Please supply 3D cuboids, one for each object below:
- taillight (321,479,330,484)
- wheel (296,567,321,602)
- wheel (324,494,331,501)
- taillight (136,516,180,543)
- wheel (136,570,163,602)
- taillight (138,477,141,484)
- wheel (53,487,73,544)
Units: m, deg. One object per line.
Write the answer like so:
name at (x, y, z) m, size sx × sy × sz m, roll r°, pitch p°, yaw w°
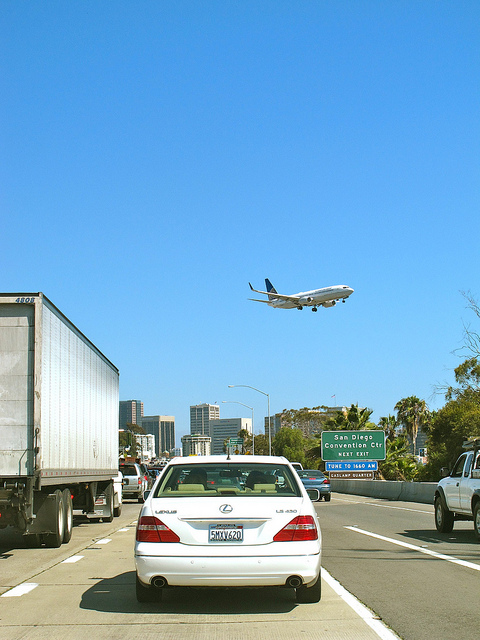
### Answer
taillight at (3.904, 7.470, 30.853) m, size 0.210 × 0.143 × 0.413 m, roll 1°, pitch 1°, yaw 9°
wheel at (0.631, 2.527, 6.200) m, size 0.225 × 0.239 × 0.329 m, roll -4°, pitch -13°, yaw 3°
wheel at (4.027, 8.233, 30.891) m, size 0.355 × 0.499 × 0.415 m, roll 0°, pitch -7°, yaw 8°
taillight at (-0.705, 1.746, 5.553) m, size 0.450 × 0.226 × 0.112 m, roll -14°, pitch -15°, yaw 33°
wheel at (-0.836, 2.489, 6.135) m, size 0.232 × 0.277 × 0.499 m, roll -1°, pitch -14°, yaw -10°
taillight at (-4.345, 6.973, 28.944) m, size 0.112 × 0.256 × 0.282 m, roll -4°, pitch -12°, yaw 10°
wheel at (-3.523, 3.975, 13.502) m, size 0.256 × 1.054 × 0.845 m, roll -1°, pitch -1°, yaw -20°
